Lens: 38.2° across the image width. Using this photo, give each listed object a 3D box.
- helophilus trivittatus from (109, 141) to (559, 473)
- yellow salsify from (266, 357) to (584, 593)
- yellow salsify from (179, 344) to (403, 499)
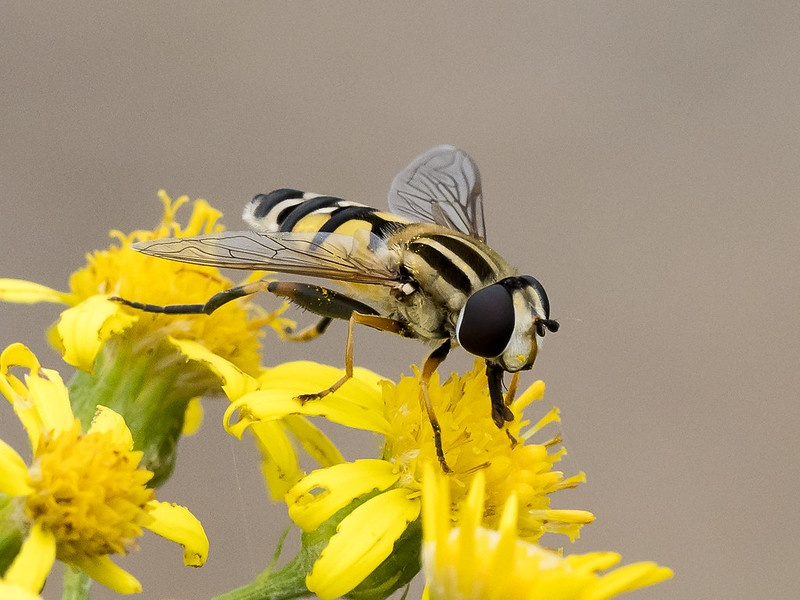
[{"bbox_3d":[-0.073,-0.047,2.866,1.081,0.395,0.912,-14,33,-33],"label":"helophilus trivittatus"},{"bbox_3d":[0.062,0.369,2.456,0.625,0.247,0.573,19,29,-6],"label":"yellow salsify"},{"bbox_3d":[-0.237,0.230,2.620,0.379,0.412,0.350,-17,13,-40],"label":"yellow salsify"}]
